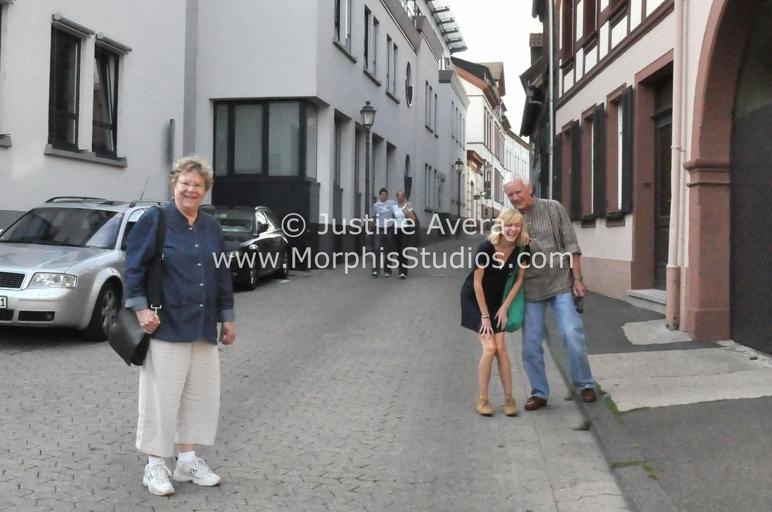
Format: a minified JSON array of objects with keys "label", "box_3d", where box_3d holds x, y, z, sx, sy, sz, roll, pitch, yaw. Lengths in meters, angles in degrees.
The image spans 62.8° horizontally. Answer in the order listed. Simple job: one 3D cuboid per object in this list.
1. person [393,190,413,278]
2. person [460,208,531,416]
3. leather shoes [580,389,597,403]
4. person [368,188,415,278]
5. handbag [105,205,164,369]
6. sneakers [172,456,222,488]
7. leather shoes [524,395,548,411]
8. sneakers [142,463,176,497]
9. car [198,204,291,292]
[{"label":"person","box_3d":[0.518,-0.619,17.460,0.532,2.368,1.236,0,5,1]},{"label":"person","box_3d":[1.162,0.575,6.611,0.717,2.164,0.555,0,5,3]},{"label":"leather shoes","box_3d":[2.132,1.453,6.644,0.161,0.113,0.157,1,6,17]},{"label":"person","box_3d":[0.148,-0.723,17.620,1.441,3.357,0.822,1,-39,3]},{"label":"handbag","box_3d":[-1.894,0.238,4.785,0.444,1.213,0.281,-1,5,-10]},{"label":"sneakers","box_3d":[-1.481,1.689,5.042,0.404,0.220,0.178,4,6,12]},{"label":"leather shoes","box_3d":[1.613,1.586,6.814,0.107,0.143,0.335,-6,-13,34]},{"label":"sneakers","box_3d":[-1.754,1.689,4.861,0.162,0.217,0.444,9,-3,-39]},{"label":"car","box_3d":[-3.429,-0.360,15.508,1.371,1.397,3.064,1,1,10]}]
